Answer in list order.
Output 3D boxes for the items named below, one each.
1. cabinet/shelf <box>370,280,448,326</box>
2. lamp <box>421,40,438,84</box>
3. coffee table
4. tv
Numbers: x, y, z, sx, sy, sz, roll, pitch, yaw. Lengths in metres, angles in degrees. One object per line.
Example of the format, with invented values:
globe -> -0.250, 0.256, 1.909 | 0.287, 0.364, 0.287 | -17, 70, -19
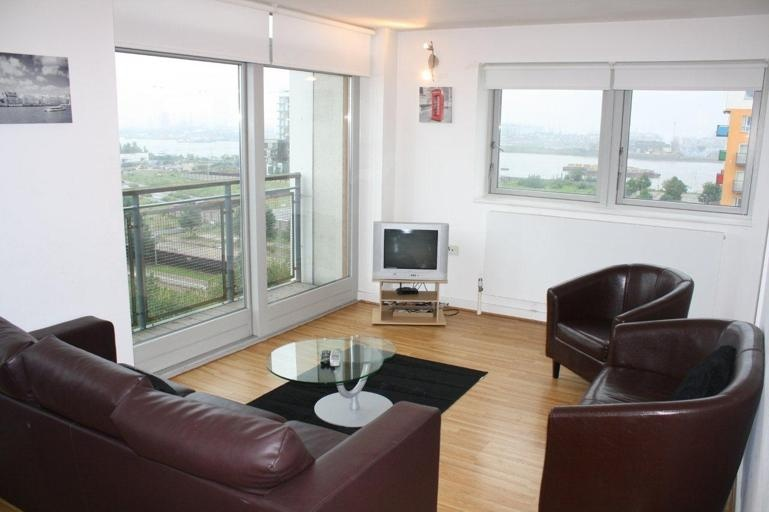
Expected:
cabinet/shelf -> 0.288, 0.370, 6.261 | 0.824, 0.485, 0.537 | 2, 17, 4
lamp -> 0.554, -2.331, 6.342 | 0.198, 0.485, 0.118 | 5, 13, 14
coffee table -> -0.454, 0.949, 4.298 | 0.707, 0.323, 0.869 | 6, 13, 33
tv -> 0.304, -0.040, 6.389 | 1.235, 0.844, 0.618 | 1, 5, 4
